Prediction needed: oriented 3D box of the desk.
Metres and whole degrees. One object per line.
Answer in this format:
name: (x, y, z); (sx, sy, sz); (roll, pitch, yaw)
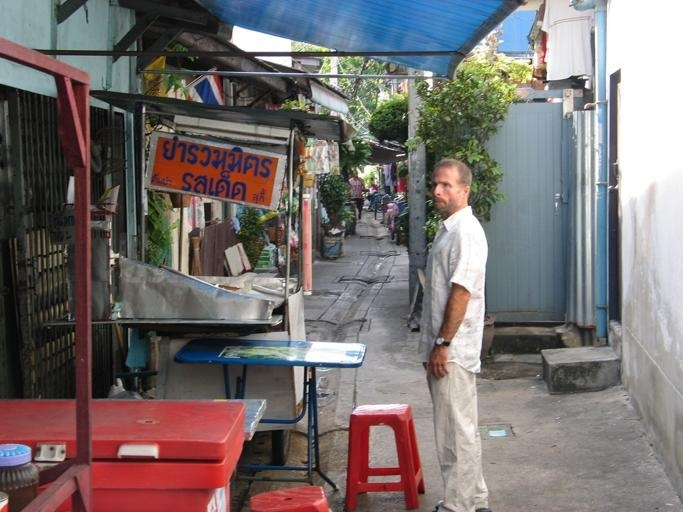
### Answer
desk: (-0.589, 1.246, 5.676); (1.419, 1.006, 0.828); (1, 4, 2)

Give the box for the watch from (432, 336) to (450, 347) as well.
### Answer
watch: (0.690, 0.597, 4.964); (0.071, 0.071, 0.069); (11, -1, 40)

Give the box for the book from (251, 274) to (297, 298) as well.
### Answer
book: (-0.638, 0.246, 6.815); (0.436, 0.180, 1.340); (0, 3, -7)

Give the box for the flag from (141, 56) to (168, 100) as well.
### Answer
flag: (-2.083, -2.030, 7.998); (0.254, 0.432, 1.473); (-1, 4, -14)

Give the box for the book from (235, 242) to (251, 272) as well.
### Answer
book: (-1.602, 0.024, 11.620); (0.042, 0.554, 0.510); (-23, 4, 9)
